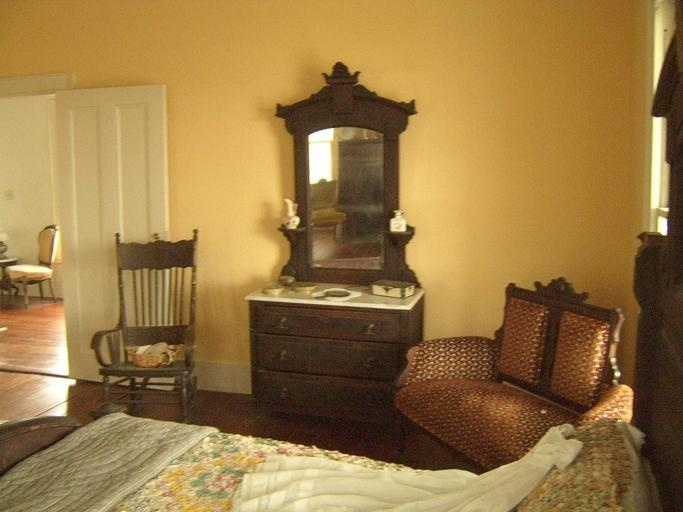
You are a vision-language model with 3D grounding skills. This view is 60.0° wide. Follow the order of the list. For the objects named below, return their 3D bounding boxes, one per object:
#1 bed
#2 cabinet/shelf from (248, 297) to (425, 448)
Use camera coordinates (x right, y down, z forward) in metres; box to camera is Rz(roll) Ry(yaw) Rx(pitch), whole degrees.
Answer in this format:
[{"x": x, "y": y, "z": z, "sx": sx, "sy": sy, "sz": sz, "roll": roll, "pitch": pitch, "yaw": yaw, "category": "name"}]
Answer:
[{"x": 0.098, "y": 0.001, "z": 3.834, "sx": 4.908, "sy": 2.136, "sz": 1.337, "roll": 0, "pitch": 5, "yaw": 19, "category": "bed"}, {"x": -0.004, "y": 0.790, "z": 4.048, "sx": 1.529, "sy": 0.727, "sz": 0.570, "roll": 1, "pitch": 3, "yaw": 15, "category": "cabinet/shelf"}]
